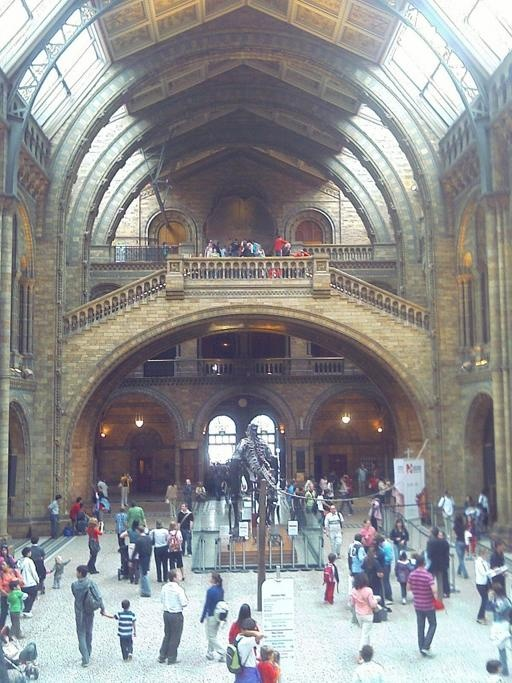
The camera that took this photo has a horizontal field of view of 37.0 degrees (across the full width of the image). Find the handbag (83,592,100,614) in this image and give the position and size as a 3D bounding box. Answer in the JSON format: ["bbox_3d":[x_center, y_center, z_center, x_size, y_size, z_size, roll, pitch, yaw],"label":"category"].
[{"bbox_3d":[-2.347,3.702,10.916,0.166,0.350,0.315,4,-10,-30],"label":"handbag"}]

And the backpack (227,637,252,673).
[{"bbox_3d":[-0.243,3.540,8.679,0.165,0.371,0.448,0,-10,-5],"label":"backpack"}]

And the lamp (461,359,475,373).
[{"bbox_3d":[6.476,0.724,23.453,0.203,0.434,0.234,-1,4,9],"label":"lamp"}]

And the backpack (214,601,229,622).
[{"bbox_3d":[-0.485,3.828,10.874,0.211,0.297,0.289,-1,-30,0],"label":"backpack"}]
